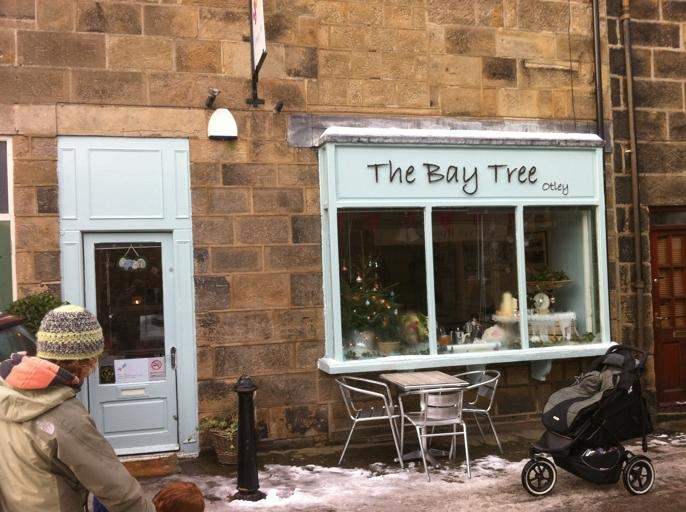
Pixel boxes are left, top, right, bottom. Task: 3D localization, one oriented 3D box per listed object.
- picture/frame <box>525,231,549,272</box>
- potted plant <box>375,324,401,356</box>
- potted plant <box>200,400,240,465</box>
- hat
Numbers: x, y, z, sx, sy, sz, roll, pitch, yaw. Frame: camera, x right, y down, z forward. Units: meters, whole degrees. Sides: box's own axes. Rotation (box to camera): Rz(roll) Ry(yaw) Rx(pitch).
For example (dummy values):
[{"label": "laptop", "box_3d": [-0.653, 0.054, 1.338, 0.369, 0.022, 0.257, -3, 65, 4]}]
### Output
[{"label": "picture/frame", "box_3d": [2.441, -0.064, 9.557, 0.518, 0.573, 0.095, -2, -1, -14]}, {"label": "potted plant", "box_3d": [0.540, 1.045, 9.014, 0.286, 0.188, 0.281, 0, -11, 2]}, {"label": "potted plant", "box_3d": [-1.382, 2.050, 8.664, 0.600, 0.631, 0.643, -2, -12, 0]}, {"label": "hat", "box_3d": [-1.811, 0.510, 5.101, 0.386, 0.306, 0.381, 0, -1, 4]}]
